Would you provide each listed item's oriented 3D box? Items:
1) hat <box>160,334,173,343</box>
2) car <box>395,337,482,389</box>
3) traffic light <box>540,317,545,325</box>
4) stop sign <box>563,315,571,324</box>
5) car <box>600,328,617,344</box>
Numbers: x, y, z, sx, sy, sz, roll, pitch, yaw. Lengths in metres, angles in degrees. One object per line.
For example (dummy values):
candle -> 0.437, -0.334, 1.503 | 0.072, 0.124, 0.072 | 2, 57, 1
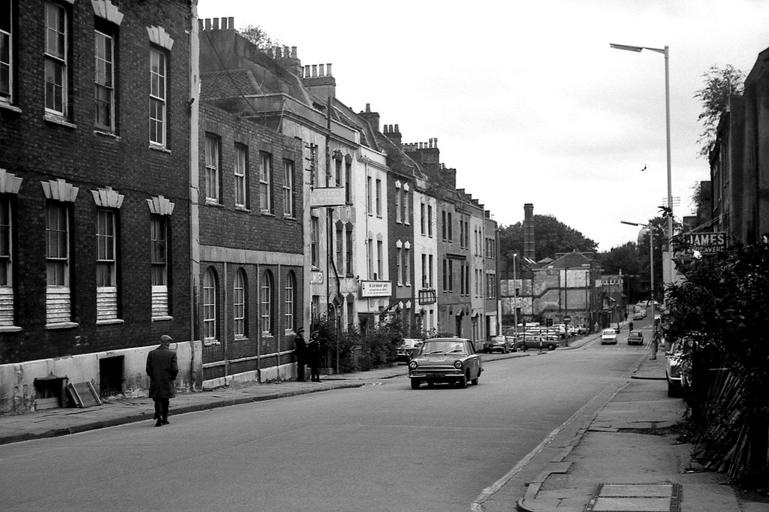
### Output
hat -> -6.306, 2.389, 31.299 | 0.432, 0.161, 0.454 | 2, 1, 26
car -> 2.196, 3.988, 40.357 | 2.304, 1.976, 2.588 | -5, -7, 8
traffic light -> 21.652, 8.930, 148.109 | 0.971, 1.415, 0.135 | 6, -11, -33
stop sign -> 24.075, 8.340, 141.860 | 0.674, 1.296, 1.339 | -8, -11, 39
car -> 23.029, 8.311, 110.407 | 1.227, 1.148, 3.045 | 0, 2, 13
